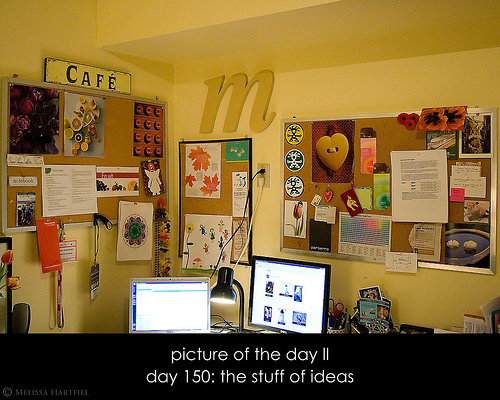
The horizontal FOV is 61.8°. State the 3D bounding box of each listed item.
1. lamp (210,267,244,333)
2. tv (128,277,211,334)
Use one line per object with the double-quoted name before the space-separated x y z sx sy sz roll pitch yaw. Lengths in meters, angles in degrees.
"lamp" -0.105 0.551 2.315 0.158 0.402 0.449 0 0 5
"tv" -0.406 0.543 2.046 0.440 0.315 0.334 1 -5 -4
